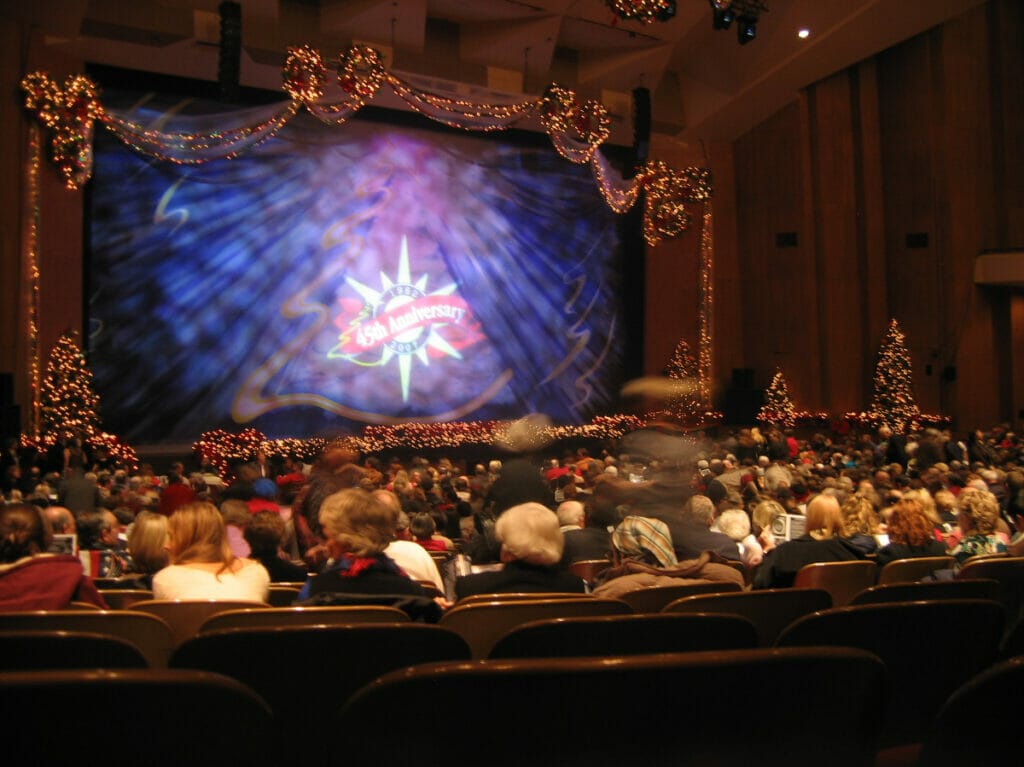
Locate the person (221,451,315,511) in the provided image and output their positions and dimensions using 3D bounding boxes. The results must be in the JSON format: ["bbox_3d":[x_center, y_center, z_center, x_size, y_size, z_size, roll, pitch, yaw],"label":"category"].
[{"bbox_3d":[-2.469,0.969,8.389,0.782,0.402,0.994,-2,-3,-28],"label":"person"}]

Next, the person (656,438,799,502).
[{"bbox_3d":[2.271,0.932,8.839,1.442,0.653,1.785,0,-3,18],"label":"person"}]
